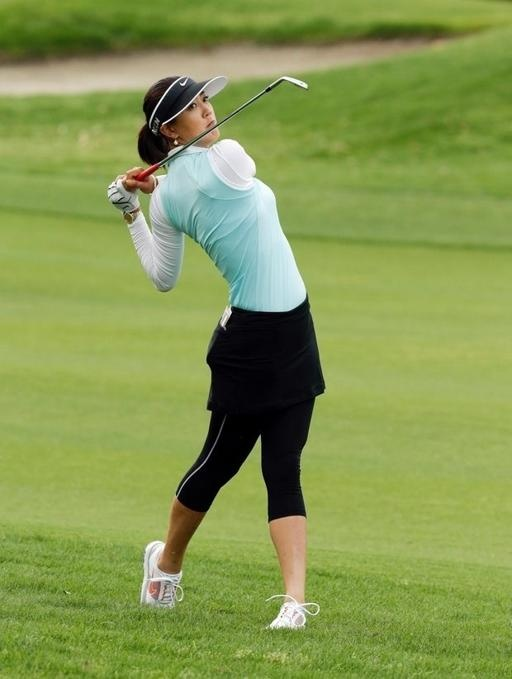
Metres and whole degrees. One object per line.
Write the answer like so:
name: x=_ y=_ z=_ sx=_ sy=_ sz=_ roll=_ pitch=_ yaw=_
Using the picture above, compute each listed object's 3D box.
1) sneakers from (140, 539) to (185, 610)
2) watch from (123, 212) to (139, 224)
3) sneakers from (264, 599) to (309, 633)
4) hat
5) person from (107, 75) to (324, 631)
sneakers: x=-0.296 y=0.756 z=3.060 sx=0.120 sy=0.204 sz=0.115 roll=2 pitch=-7 yaw=-33
watch: x=-0.412 y=-0.399 z=3.067 sx=0.043 sy=0.024 sz=0.048 roll=3 pitch=2 yaw=-12
sneakers: x=0.090 y=0.792 z=2.737 sx=0.110 sy=0.090 sz=0.130 roll=3 pitch=1 yaw=2
hat: x=-0.209 y=-0.721 z=2.900 sx=0.243 sy=0.162 sz=0.181 roll=3 pitch=1 yaw=-26
person: x=-0.126 y=0.016 z=2.907 sx=0.753 sy=1.548 sz=0.412 roll=4 pitch=1 yaw=9
